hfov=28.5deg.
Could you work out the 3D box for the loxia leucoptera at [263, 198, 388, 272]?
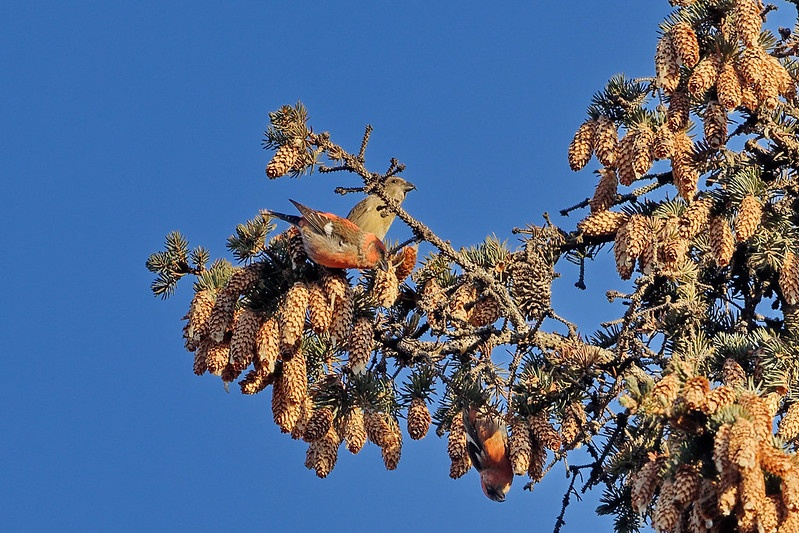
[{"bbox_3d":[-0.504,-0.261,11.806,0.861,0.642,0.398,19,-64,-19],"label":"loxia leucoptera"}]
